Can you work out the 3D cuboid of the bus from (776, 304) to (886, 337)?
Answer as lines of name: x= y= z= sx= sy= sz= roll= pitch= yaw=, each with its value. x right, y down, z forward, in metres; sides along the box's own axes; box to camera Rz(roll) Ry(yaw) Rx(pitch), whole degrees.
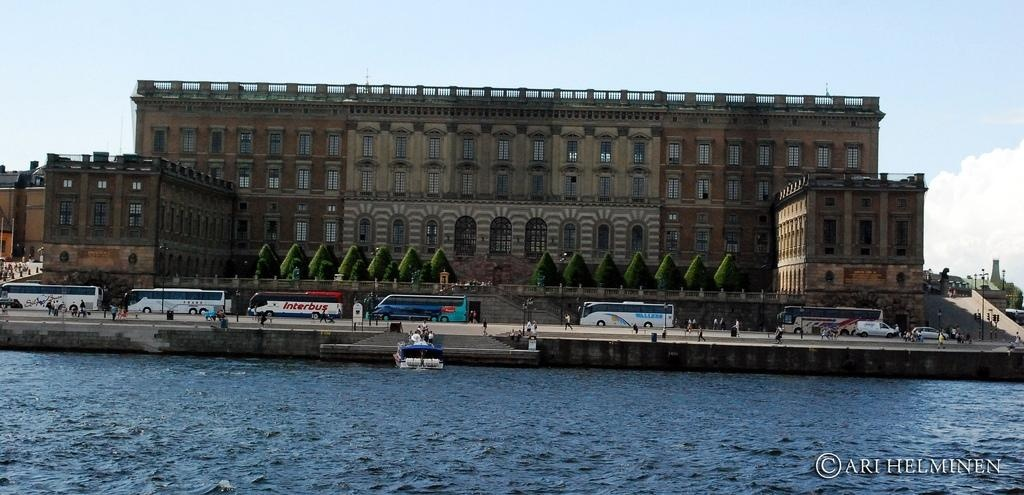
bus: x=41.618 y=9.237 z=248.604 sx=16.399 sy=3.939 sz=4.542 roll=2 pitch=-3 yaw=3

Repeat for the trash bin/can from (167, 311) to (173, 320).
trash bin/can: x=-43.498 y=8.584 z=241.153 sx=0.986 sy=1.456 sz=1.342 roll=-1 pitch=2 yaw=-7
